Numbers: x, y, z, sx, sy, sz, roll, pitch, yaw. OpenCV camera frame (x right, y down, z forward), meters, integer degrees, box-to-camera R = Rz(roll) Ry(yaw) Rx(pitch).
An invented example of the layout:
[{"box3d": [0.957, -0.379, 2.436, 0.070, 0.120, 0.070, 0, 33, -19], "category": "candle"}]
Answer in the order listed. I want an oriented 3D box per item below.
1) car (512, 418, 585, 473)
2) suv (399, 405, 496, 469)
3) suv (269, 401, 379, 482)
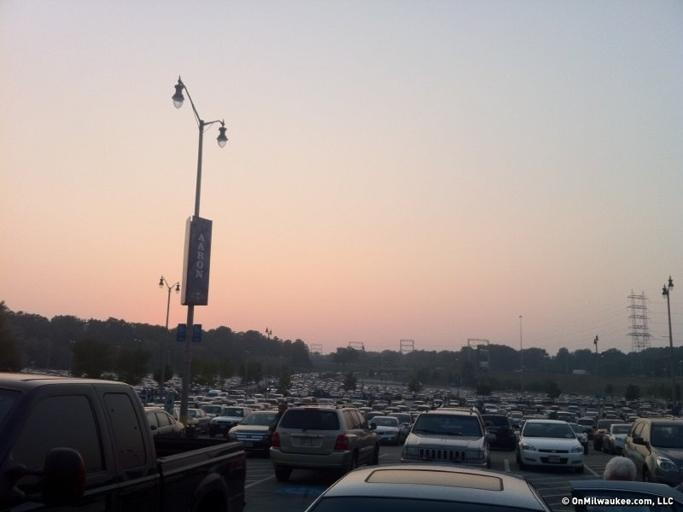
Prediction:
[{"box3d": [6.444, 5.997, 20.854, 1.853, 1.339, 2.061, -2, -11, 12], "category": "car"}, {"box3d": [2.484, 4.127, 16.020, 1.786, 1.418, 3.744, -2, -19, 12], "category": "suv"}, {"box3d": [-0.176, 4.695, 17.506, 1.552, 1.172, 3.180, -3, -8, 19], "category": "suv"}]
